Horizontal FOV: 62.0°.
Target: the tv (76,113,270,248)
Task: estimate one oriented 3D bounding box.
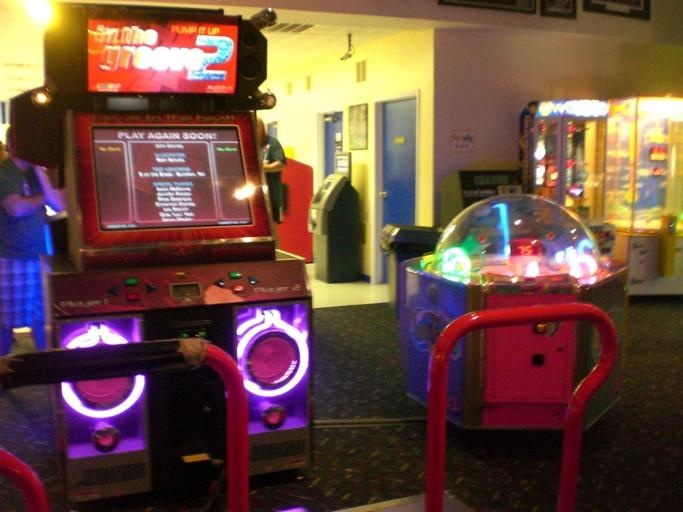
[{"bbox_3d":[-0.838,-0.344,2.723,0.630,0.467,0.222,-3,-7,-19],"label":"tv"}]

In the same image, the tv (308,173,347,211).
[{"bbox_3d":[-0.154,-0.873,7.766,0.447,0.417,0.457,-10,16,-25],"label":"tv"}]
